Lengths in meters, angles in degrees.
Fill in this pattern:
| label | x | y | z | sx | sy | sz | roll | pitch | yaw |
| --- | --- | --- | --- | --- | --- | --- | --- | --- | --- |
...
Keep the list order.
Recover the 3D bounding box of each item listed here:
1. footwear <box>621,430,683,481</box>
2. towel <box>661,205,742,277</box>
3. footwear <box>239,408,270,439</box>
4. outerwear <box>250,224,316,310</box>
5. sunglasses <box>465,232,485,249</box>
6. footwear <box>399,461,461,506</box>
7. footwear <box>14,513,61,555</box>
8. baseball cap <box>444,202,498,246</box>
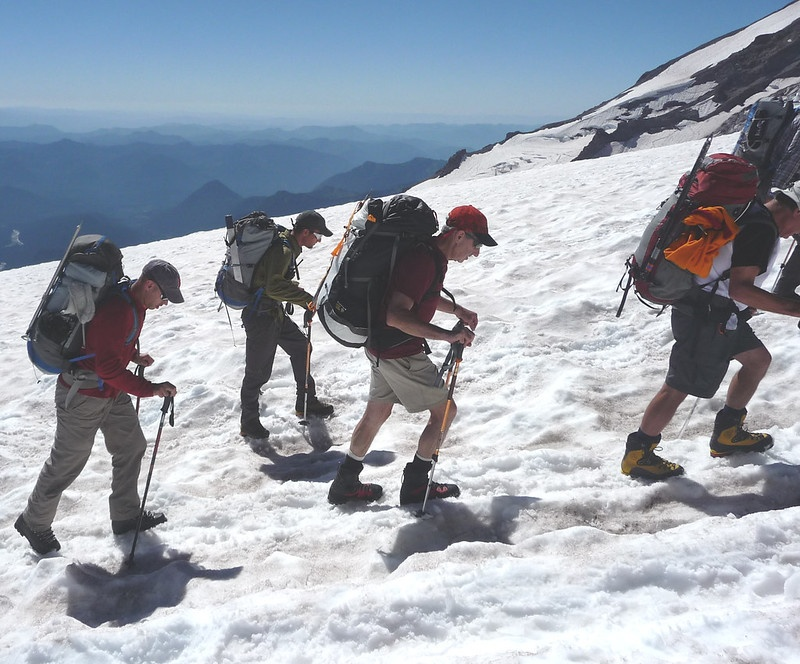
| label | x | y | z | sx | sy | sz | roll | pitch | yaw |
| --- | --- | --- | --- | --- | --- | --- | --- | --- | --- |
| footwear | 2.251 | 1.076 | 6.262 | 0.736 | 0.423 | 0.262 | 0 | 17 | 0 |
| towel | 2.319 | -0.685 | 5.575 | 0.579 | 0.500 | 0.232 | 22 | 9 | 20 |
| footwear | -1.688 | 1.045 | 8.128 | 0.444 | 0.352 | 0.212 | 0 | 10 | -16 |
| outerwear | -1.205 | -0.716 | 7.984 | 0.920 | 0.906 | 0.788 | 10 | 13 | -4 |
| sunglasses | 0.616 | -0.748 | 5.875 | 0.133 | 0.035 | 0.123 | 40 | -1 | -7 |
| footwear | 0.240 | 1.307 | 6.431 | 0.714 | 0.410 | 0.225 | 1 | 1 | -34 |
| footwear | -3.071 | 1.694 | 6.069 | 0.427 | 0.210 | 0.147 | 42 | 9 | -10 |
| baseball cap | 0.625 | -0.836 | 5.889 | 0.465 | 0.237 | 0.275 | 24 | 19 | -11 |
